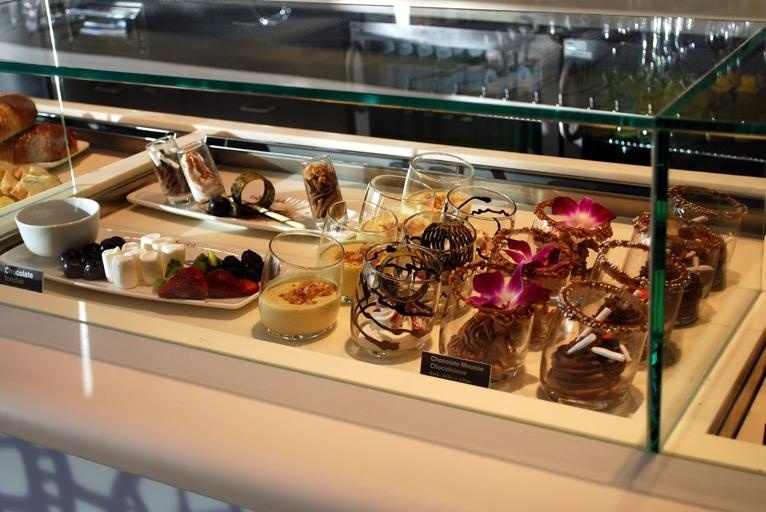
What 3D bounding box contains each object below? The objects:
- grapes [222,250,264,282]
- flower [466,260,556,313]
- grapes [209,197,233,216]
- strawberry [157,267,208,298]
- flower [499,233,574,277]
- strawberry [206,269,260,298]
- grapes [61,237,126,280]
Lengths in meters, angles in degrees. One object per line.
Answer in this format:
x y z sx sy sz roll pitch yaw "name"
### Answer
-0.238 0.016 0.952 0.053 0.027 0.070 35 33 29 "grapes"
0.181 0.051 0.745 0.086 0.035 0.084 -24 38 -33 "flower"
-0.336 -0.103 1.121 0.047 0.041 0.026 -4 55 5 "grapes"
-0.326 0.050 0.894 0.069 0.026 0.056 -14 5 -9 "strawberry"
0.244 -0.009 0.856 0.095 0.033 0.080 9 24 20 "flower"
-0.251 0.044 0.912 0.085 0.036 0.041 4 47 -11 "strawberry"
-0.531 0.005 0.972 0.121 0.033 0.103 -10 31 -20 "grapes"
